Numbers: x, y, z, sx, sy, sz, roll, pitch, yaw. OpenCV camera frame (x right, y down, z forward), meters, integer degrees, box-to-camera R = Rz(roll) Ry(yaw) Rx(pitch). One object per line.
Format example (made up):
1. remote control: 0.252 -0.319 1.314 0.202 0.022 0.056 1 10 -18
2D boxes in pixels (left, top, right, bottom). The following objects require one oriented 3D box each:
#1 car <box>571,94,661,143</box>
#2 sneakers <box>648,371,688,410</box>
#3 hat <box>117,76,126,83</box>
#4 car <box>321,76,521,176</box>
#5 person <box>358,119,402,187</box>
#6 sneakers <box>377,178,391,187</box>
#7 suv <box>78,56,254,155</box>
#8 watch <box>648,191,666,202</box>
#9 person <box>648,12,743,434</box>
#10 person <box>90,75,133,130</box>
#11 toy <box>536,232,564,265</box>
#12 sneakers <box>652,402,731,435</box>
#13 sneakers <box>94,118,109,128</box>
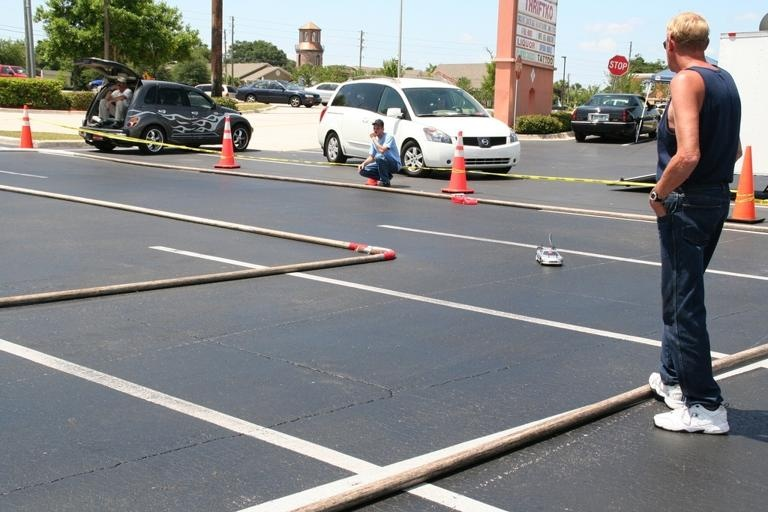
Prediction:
1. car: 9.808 -5.908 30.204 2.480 2.062 3.545 9 13 37
2. sneakers: 1.976 0.949 4.943 0.113 0.127 0.282 -3 20 -15
3. hat: -7.136 -4.821 19.300 0.257 0.177 0.259 -3 11 -21
4. car: 0.674 -3.031 17.014 2.561 1.749 4.223 -4 8 -39
5. person: -0.067 -2.079 14.317 0.795 1.331 0.809 0 11 -2
6. sneakers: 0.000 -1.488 14.284 0.230 0.208 0.528 0 -1 9
7. suv: -5.915 -4.338 20.980 2.501 2.364 5.228 9 13 38
8. watch: 1.792 -0.386 4.616 0.096 0.075 0.078 8 13 32
9. person: 2.070 -0.227 4.658 0.610 2.706 0.714 4 12 17
10. person: -7.405 -4.278 19.404 1.219 1.290 0.717 8 13 34
11. toy: 1.991 -0.026 8.369 0.318 0.256 0.314 1 11 3
12. sneakers: 2.028 1.074 4.697 0.487 0.208 0.194 2 1 9
13. sneakers: -7.863 -3.660 19.454 0.628 0.252 0.208 3 16 27
